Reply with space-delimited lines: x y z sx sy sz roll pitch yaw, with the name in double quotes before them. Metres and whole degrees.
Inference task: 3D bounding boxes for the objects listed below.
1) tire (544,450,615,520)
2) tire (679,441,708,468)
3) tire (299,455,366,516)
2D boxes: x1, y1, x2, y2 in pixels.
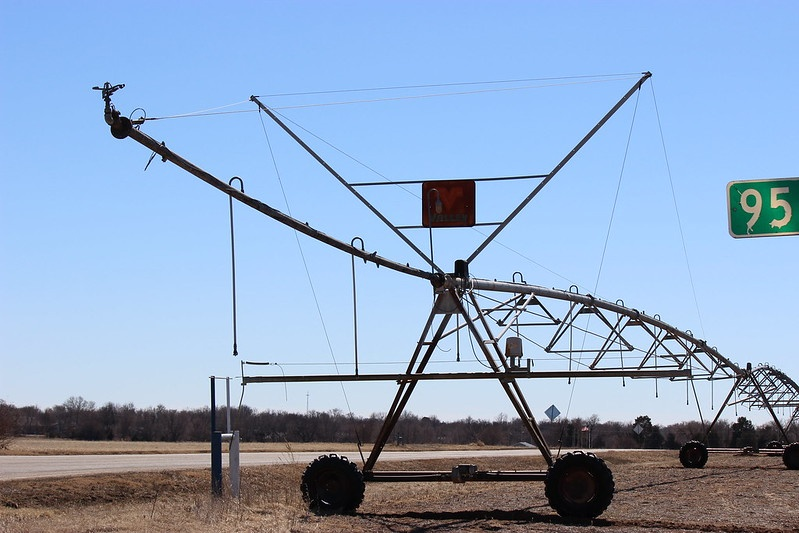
"tire" 7.437 9.122 45.073 1.988 2.489 0.726 10 -5 6
"tire" 17.702 11.256 65.398 1.536 1.644 1.577 -3 -13 7
"tire" -2.766 9.310 46.010 2.058 2.357 0.775 -27 -13 -7
